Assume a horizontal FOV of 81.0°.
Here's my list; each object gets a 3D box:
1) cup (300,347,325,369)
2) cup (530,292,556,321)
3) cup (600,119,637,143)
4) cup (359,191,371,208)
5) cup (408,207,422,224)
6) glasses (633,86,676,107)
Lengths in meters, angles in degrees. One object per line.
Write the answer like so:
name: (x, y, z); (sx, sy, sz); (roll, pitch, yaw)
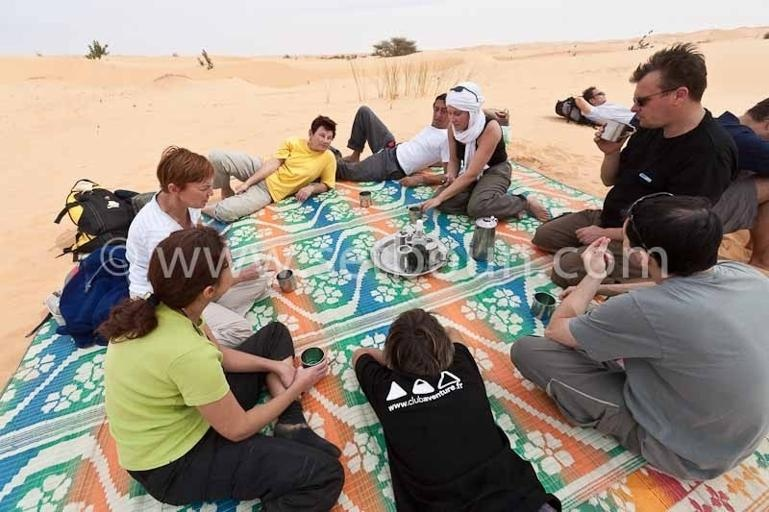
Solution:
cup: (-0.734, 1.008, 4.540); (0.219, 0.202, 0.196); (22, 47, 16)
cup: (1.728, 0.534, 4.983); (0.246, 0.222, 0.323); (27, 45, 30)
cup: (2.689, -1.456, 5.238); (0.349, 0.214, 0.250); (19, 25, 25)
cup: (-0.301, -0.880, 6.709); (0.242, 0.244, 0.211); (-7, 57, -7)
cup: (0.397, -0.577, 6.231); (0.245, 0.246, 0.216); (1, 49, -1)
glasses: (2.875, -1.699, 4.839); (0.365, 0.208, 0.109); (23, 39, 39)
